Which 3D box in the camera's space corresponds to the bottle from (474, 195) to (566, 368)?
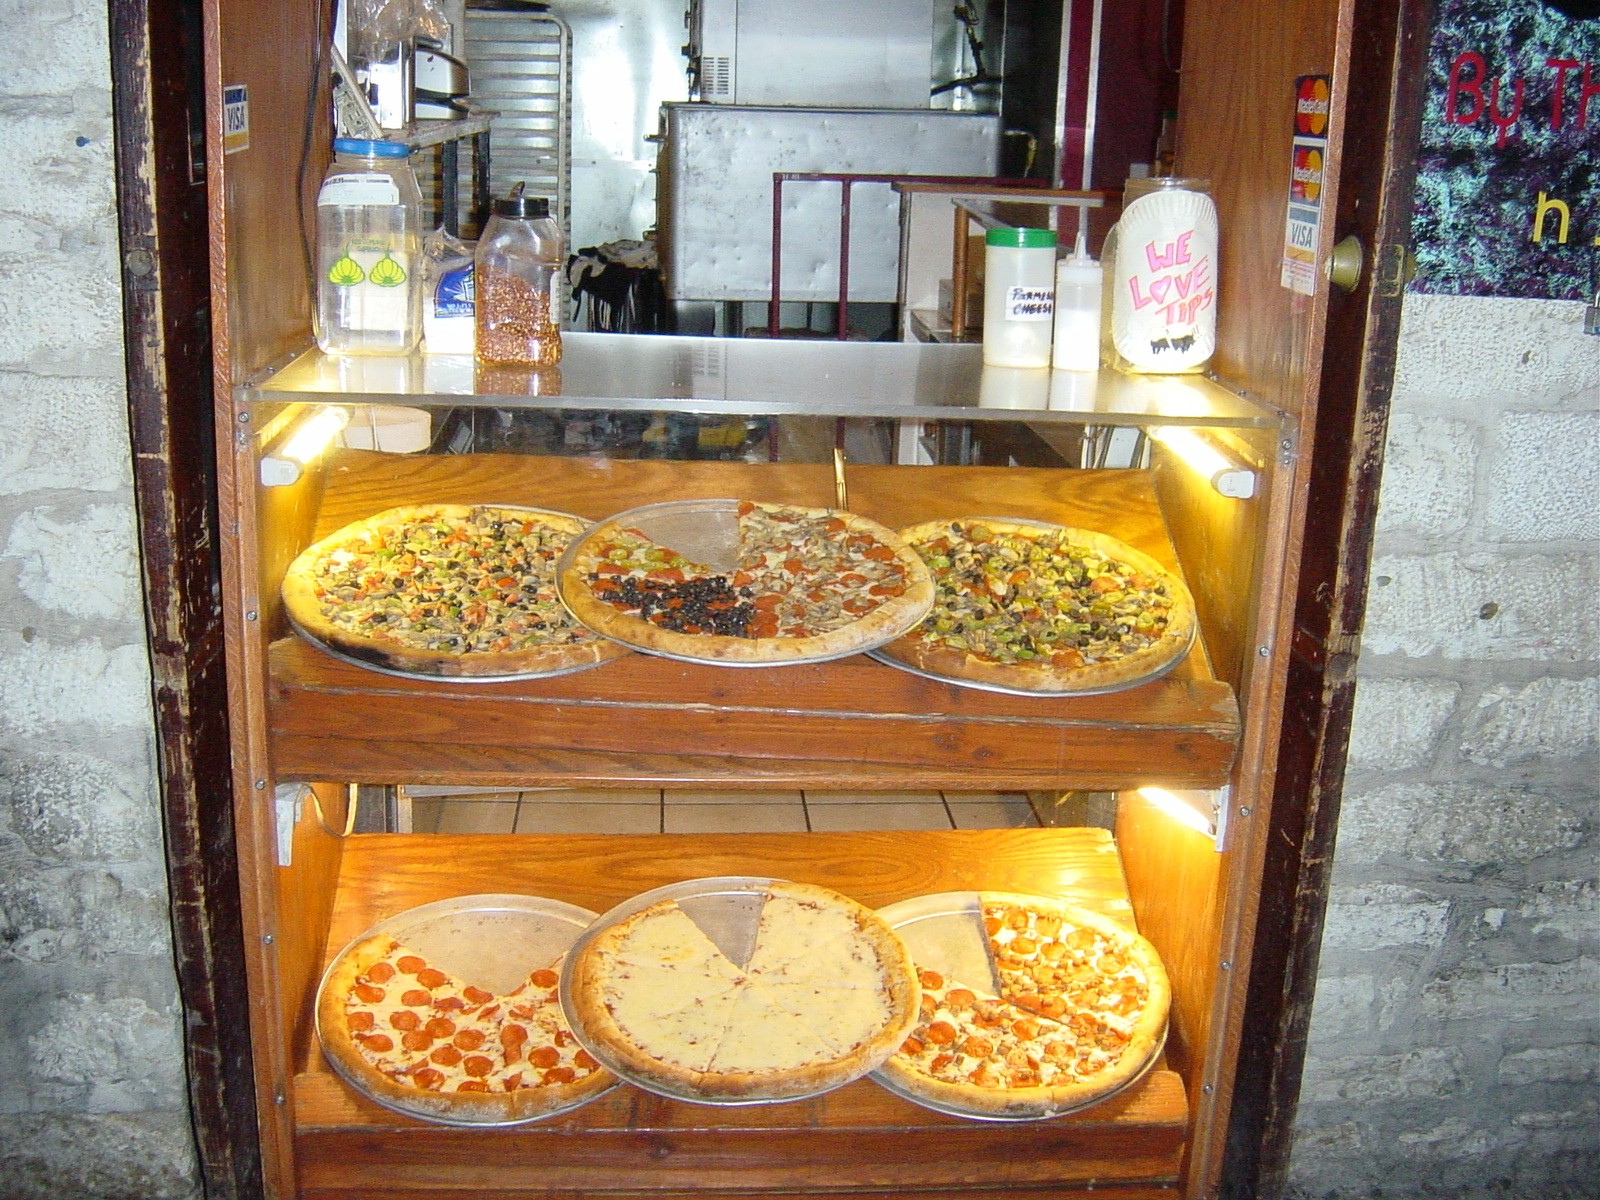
[{"bbox_3d":[-0.348,-0.391,1.609,0.099,0.203,0.059,-1,14,-13],"label":"bottle"}]
